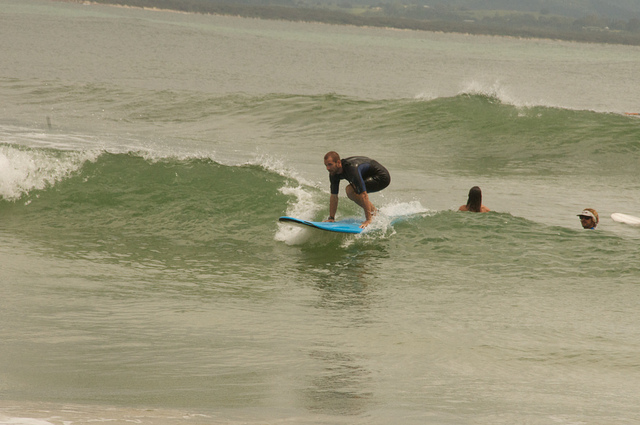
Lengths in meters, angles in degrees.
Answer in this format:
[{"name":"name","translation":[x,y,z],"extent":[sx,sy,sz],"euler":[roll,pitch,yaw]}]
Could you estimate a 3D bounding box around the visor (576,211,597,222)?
[{"name":"visor","translation":[9.216,0.112,33.890],"extent":[0.534,0.112,0.312],"euler":[13,-7,-5]}]
